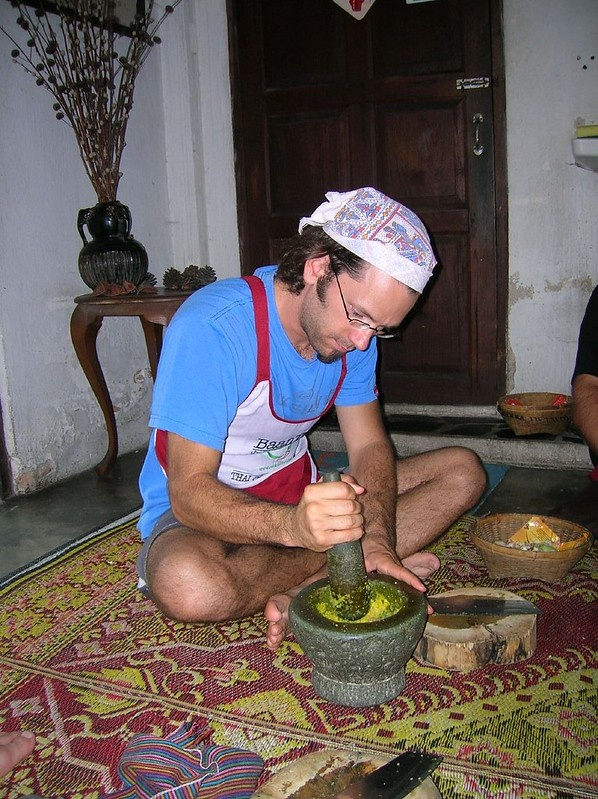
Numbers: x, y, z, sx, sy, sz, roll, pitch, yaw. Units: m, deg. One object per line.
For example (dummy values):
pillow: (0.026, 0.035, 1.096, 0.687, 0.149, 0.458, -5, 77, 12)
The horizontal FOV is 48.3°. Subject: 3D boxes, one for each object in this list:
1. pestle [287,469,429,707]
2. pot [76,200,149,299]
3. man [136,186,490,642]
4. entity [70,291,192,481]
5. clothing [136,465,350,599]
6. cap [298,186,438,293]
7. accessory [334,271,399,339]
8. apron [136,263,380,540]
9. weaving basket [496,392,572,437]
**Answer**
pestle: (0.128, 0.484, 1.432, 0.292, 0.419, 0.314, -2, 8, 2)
pot: (-0.969, -0.777, 3.457, 0.345, 0.440, 0.323, -4, 17, 1)
man: (-0.001, 0.031, 1.867, 0.795, 1.128, 1.187, 10, 14, 33)
entity: (-0.952, -0.134, 3.789, 0.786, 0.862, 0.790, 2, 12, 33)
clothing: (-0.198, 0.405, 1.885, 0.529, 0.184, 0.383, -27, 1, -15)
cap: (0.245, -0.380, 1.575, 0.216, 0.262, 0.105, -18, -20, -39)
accessory: (0.180, -0.227, 1.623, 0.089, 0.157, 0.230, 3, 10, 35)
apron: (-0.122, 0.053, 1.982, 0.811, 0.764, 0.440, -1, 20, -43)
weaving basket: (1.299, 0.081, 3.616, 0.299, 0.131, 0.292, -3, 13, 5)
